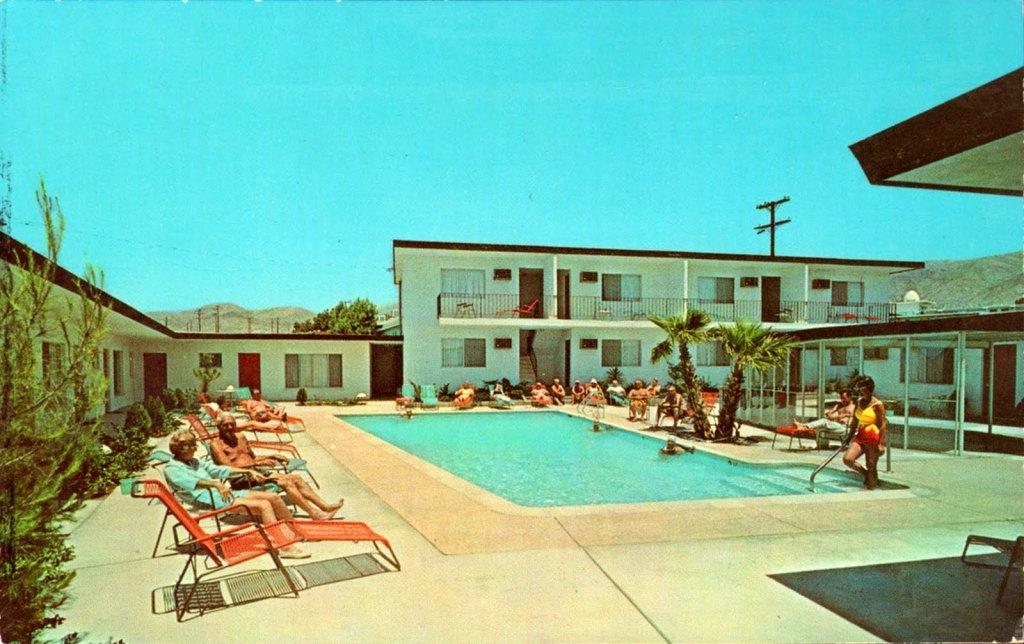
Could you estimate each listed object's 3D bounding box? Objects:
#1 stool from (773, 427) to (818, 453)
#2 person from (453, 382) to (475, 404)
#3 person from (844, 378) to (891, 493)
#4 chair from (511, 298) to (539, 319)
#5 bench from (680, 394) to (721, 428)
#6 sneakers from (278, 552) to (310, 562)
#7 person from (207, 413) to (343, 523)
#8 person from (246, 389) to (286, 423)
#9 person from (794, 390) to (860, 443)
[{"bbox_3d":[7.256,2.985,19.835,0.694,0.501,0.965,-3,2,-2],"label":"stool"},{"bbox_3d":[-1.782,2.823,29.373,0.599,0.849,0.312,1,-15,-2],"label":"person"},{"bbox_3d":[7.333,2.454,16.083,0.772,2.556,0.890,8,-9,-23],"label":"person"},{"bbox_3d":[0.647,-0.524,34.605,1.117,0.735,0.729,-1,-1,-1],"label":"chair"},{"bbox_3d":[5.345,2.598,22.191,1.242,0.728,1.874,0,-6,0],"label":"bench"},{"bbox_3d":[-3.533,3.761,12.588,0.409,0.151,0.203,1,-1,-6],"label":"sneakers"},{"bbox_3d":[-4.298,2.755,14.285,2.502,1.536,0.898,13,15,9],"label":"person"},{"bbox_3d":[-8.049,2.761,25.469,0.765,0.846,1.295,9,-17,-44],"label":"person"},{"bbox_3d":[7.717,2.295,19.098,1.474,1.030,0.607,-8,9,4],"label":"person"}]
